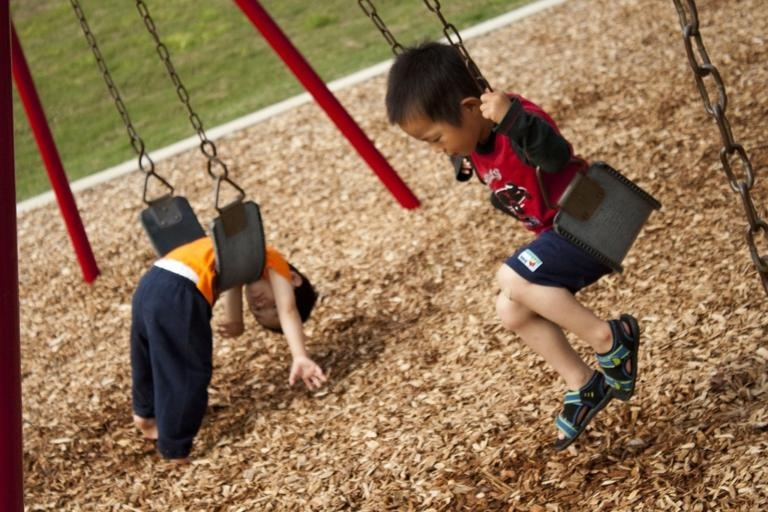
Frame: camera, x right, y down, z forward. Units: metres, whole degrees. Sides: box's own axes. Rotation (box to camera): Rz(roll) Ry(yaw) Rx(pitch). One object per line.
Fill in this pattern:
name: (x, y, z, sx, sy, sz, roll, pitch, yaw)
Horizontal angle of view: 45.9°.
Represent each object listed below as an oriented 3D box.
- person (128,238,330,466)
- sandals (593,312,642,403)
person: (-0.941, 0.463, 4.787, 1.143, 0.959, 0.661, -26, 26, 4)
sandals: (1.087, 0.476, 4.247, 0.180, 0.382, 0.180, -14, 5, -18)
